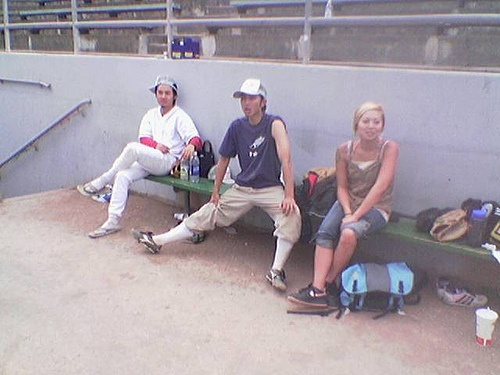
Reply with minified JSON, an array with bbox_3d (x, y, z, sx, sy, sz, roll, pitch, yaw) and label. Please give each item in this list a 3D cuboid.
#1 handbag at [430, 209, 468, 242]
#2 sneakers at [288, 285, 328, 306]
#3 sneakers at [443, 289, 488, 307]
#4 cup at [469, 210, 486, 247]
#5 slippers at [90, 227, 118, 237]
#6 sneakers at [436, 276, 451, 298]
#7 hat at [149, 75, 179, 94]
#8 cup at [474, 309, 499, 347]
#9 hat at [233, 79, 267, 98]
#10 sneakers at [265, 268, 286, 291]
[{"bbox_3d":[1.913,0.364,4.347,0.321,0.265,0.089,-30,-25,16],"label":"handbag"},{"bbox_3d":[0.583,1.045,4.458,0.427,0.215,0.169,7,8,-2],"label":"sneakers"},{"bbox_3d":[2.086,1.081,4.430,0.399,0.175,0.150,-4,22,19],"label":"sneakers"},{"bbox_3d":[2.135,0.373,4.246,0.161,0.339,0.077,4,-14,35],"label":"cup"},{"bbox_3d":[-1.834,0.531,5.687,0.103,0.134,0.312,6,9,44],"label":"slippers"},{"bbox_3d":[1.936,1.001,4.553,0.073,0.164,0.113,9,-29,-5],"label":"sneakers"},{"bbox_3d":[-1.175,-1.376,6.085,0.239,0.182,0.301,5,-7,-37],"label":"hat"},{"bbox_3d":[2.092,1.226,4.000,0.219,0.297,0.124,2,17,-4],"label":"cup"},{"bbox_3d":[-0.008,-1.001,4.727,0.279,0.154,0.197,4,7,-45],"label":"hat"},{"bbox_3d":[0.271,0.930,4.684,0.222,0.190,0.263,5,17,3],"label":"sneakers"}]
